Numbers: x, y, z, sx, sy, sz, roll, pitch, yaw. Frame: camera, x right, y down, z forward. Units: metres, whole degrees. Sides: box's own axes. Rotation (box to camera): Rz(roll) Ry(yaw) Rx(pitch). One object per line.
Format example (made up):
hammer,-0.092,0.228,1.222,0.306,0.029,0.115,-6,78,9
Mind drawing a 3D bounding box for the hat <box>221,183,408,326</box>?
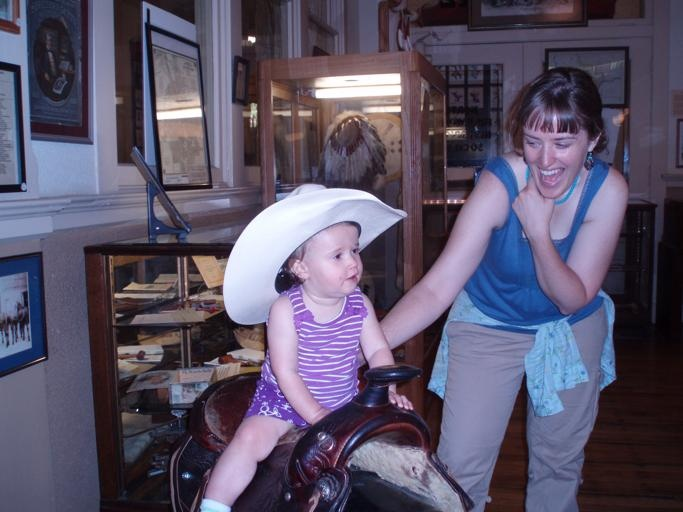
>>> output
hat,-0.079,0.011,1.653,0.515,0.409,0.238,-2,10,2
